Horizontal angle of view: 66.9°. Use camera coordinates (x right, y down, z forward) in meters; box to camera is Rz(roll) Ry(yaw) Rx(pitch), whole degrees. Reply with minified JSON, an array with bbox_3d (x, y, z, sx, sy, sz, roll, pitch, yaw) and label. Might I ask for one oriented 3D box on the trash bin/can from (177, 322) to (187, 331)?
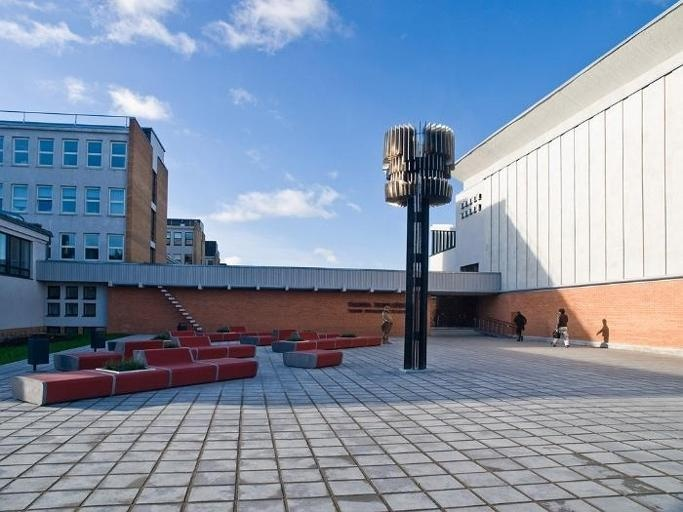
[{"bbox_3d":[-9.259,4.040,29.744,0.585,0.625,0.610,0,-6,-6],"label":"trash bin/can"}]
